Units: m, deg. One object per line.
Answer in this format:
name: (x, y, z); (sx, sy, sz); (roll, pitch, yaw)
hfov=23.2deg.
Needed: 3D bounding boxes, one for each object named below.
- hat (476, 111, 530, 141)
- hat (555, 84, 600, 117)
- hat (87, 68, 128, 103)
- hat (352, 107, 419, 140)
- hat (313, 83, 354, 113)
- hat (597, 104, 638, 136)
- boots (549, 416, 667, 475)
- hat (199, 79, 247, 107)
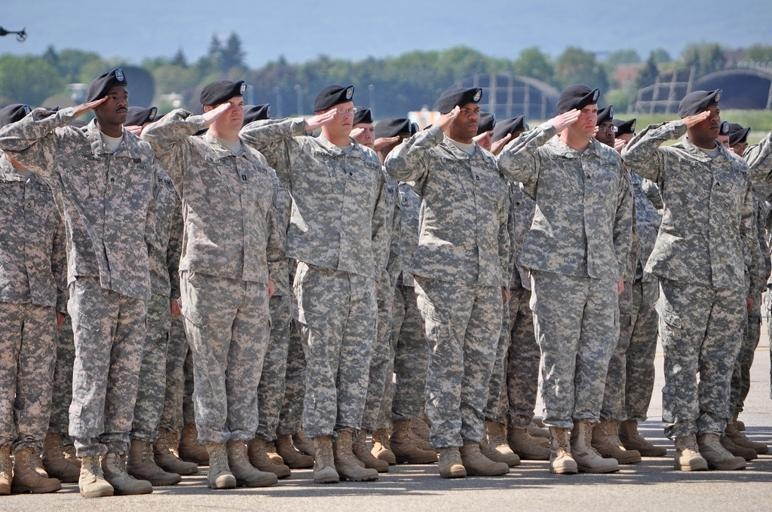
hat: (1.207, -1.347, 19.528); (0.511, 0.206, 0.336); (-4, 3, 29)
hat: (1.793, -1.478, 17.783); (0.395, 0.162, 0.278); (-10, 0, 41)
hat: (-2.473, -1.524, 16.864); (0.343, 0.362, 0.369); (1, -6, -8)
hat: (0.016, -1.345, 18.944); (0.562, 0.214, 0.407); (0, 0, 25)
hat: (-0.457, -1.458, 17.388); (0.366, 0.114, 0.258); (-12, -3, 38)
hat: (2.459, -1.374, 19.179); (0.481, 0.205, 0.307); (7, 6, 22)
boots: (1.986, 1.778, 17.798); (1.235, 0.592, 0.370); (-3, 2, -9)
hat: (-1.474, -1.502, 17.185); (0.360, 0.105, 0.275); (-16, -4, 22)
